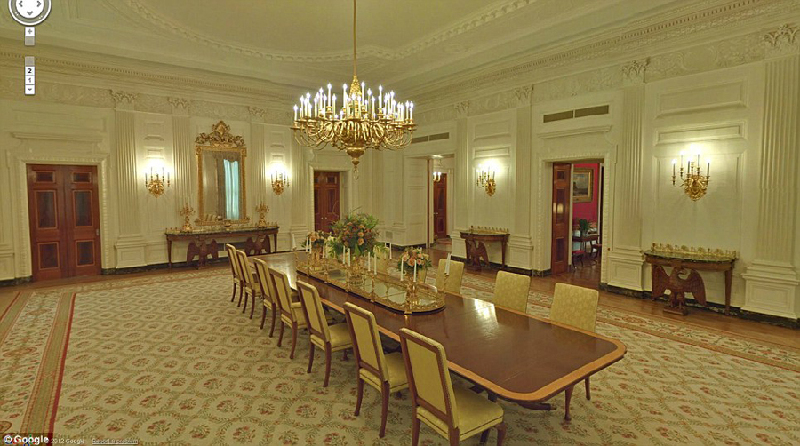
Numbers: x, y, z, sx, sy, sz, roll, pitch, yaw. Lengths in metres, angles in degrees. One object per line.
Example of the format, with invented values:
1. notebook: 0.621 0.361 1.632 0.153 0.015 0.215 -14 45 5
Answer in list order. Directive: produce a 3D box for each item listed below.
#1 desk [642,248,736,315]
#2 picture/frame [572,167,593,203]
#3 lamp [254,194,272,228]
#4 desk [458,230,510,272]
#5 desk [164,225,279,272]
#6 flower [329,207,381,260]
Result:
1. desk: 6.277 1.117 10.563 1.221 1.407 2.067 -6 7 -42
2. picture/frame: 5.492 -1.158 14.748 1.233 1.159 0.101 -3 6 -36
3. lamp: -4.038 -0.319 14.238 0.719 1.059 0.691 -1 7 -8
4. desk: 2.322 0.538 13.125 0.963 1.096 1.538 -12 16 -38
5. desk: -4.875 0.646 13.932 3.136 0.981 0.851 -6 17 -35
6. flower: -0.796 0.164 9.300 0.836 0.664 0.808 7 25 10
